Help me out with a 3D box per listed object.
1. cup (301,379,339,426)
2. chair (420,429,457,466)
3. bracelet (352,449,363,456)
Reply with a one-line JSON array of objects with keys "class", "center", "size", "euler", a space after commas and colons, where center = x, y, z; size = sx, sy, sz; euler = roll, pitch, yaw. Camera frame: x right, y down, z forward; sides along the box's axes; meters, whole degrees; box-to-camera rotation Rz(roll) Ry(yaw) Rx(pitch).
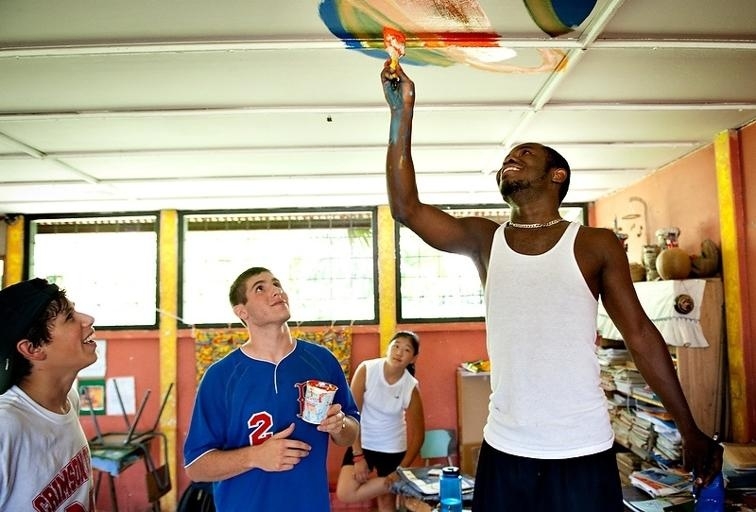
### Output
[{"class": "cup", "center": [-0.317, 0.788, 3.373], "size": [0.201, 0.246, 0.127], "euler": [-7, -7, 40]}, {"class": "chair", "center": [0.588, 1.972, 6.544], "size": [0.411, 0.506, 0.377], "euler": [1, -18, -3]}, {"class": "bracelet", "center": [-0.165, 1.622, 5.210], "size": [0.063, 0.044, 0.059], "euler": [1, -16, -4]}]
